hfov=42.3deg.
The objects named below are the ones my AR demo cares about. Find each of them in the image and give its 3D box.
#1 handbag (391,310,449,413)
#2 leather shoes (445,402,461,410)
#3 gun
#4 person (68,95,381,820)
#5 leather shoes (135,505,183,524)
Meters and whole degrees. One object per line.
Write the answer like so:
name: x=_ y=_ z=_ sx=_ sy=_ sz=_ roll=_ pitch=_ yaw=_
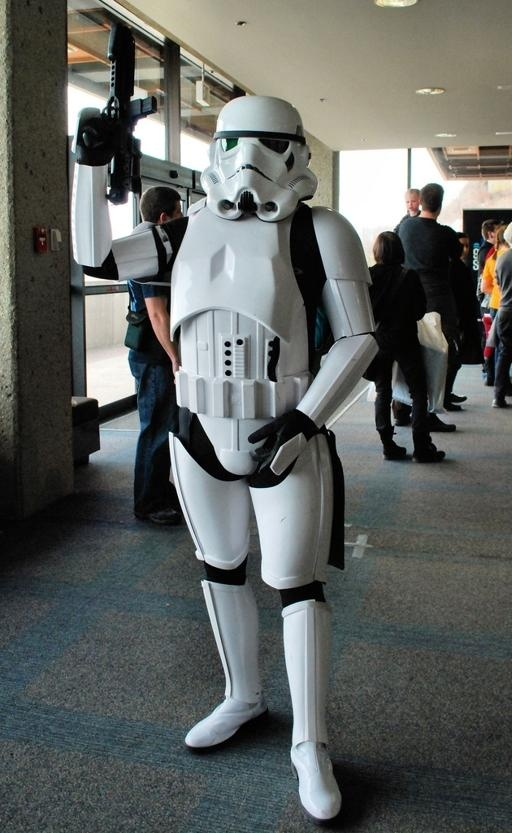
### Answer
handbag: x=1.018 y=-0.335 z=4.089 sx=0.330 sy=0.610 sz=0.377 roll=-1 pitch=9 yaw=-3
leather shoes: x=1.576 y=-0.076 z=5.321 sx=0.072 sy=0.058 sz=0.171 roll=-24 pitch=-5 yaw=7
gun: x=-0.255 y=-0.550 z=1.182 sx=0.141 sy=0.315 sz=0.100 roll=-3 pitch=9 yaw=-15
person: x=0.011 y=0.071 z=1.260 sx=0.382 sy=1.299 sz=0.242 roll=4 pitch=10 yaw=28
leather shoes: x=-0.424 y=0.428 z=2.903 sx=0.204 sy=0.080 sz=0.077 roll=-4 pitch=-3 yaw=27
